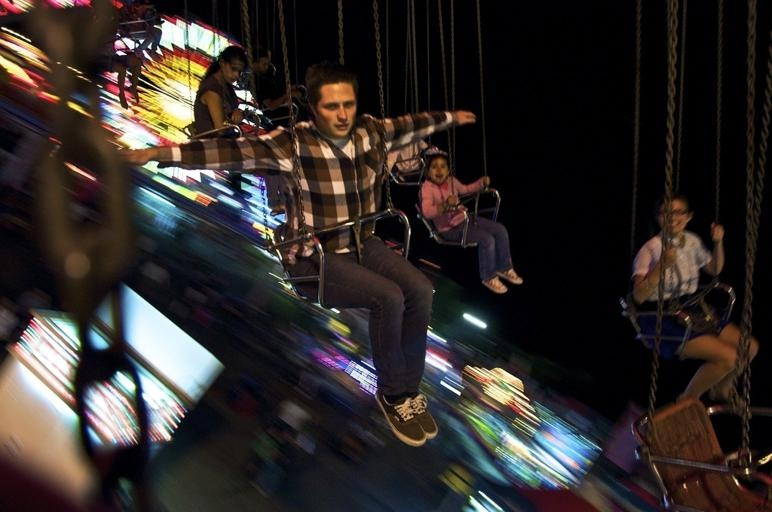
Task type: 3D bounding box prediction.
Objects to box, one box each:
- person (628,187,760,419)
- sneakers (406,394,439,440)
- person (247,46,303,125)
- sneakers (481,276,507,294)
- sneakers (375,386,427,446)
[{"bbox_3d":[1.957,0.333,3.751,0.625,1.400,0.705,-12,8,-31],"label":"person"},{"bbox_3d":[0.210,0.885,3.305,0.109,0.295,0.107,-16,-19,-33],"label":"sneakers"},{"bbox_3d":[-1.348,-1.766,6.814,0.646,1.178,0.514,0,-10,-17],"label":"person"},{"bbox_3d":[0.958,0.251,5.320,0.216,0.091,0.128,14,37,42],"label":"sneakers"},{"bbox_3d":[0.087,0.873,3.337,0.148,0.140,0.360,-19,51,-40],"label":"sneakers"}]
